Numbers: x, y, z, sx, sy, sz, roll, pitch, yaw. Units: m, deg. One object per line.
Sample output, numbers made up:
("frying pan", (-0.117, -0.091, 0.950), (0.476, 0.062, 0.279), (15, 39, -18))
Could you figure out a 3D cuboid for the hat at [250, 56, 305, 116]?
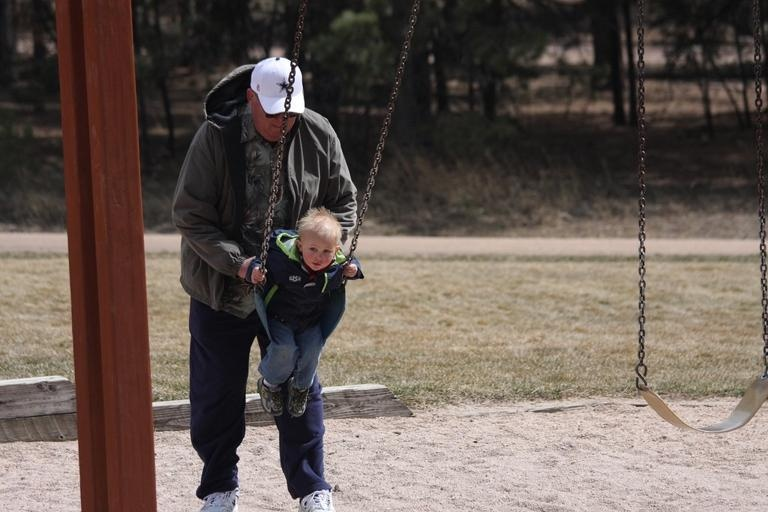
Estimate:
("hat", (-1.199, -2.024, 20.982), (0.553, 0.405, 0.851), (-6, 39, -23))
